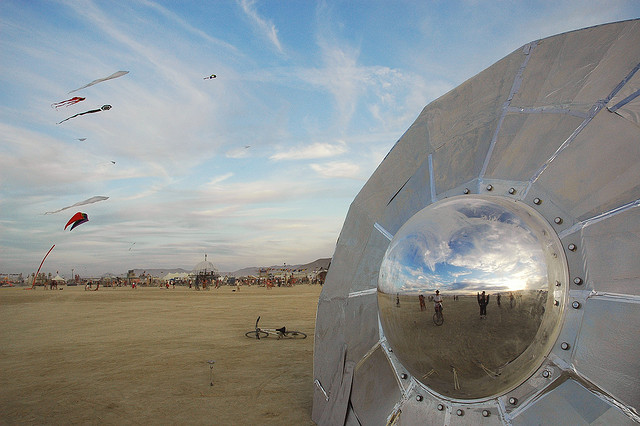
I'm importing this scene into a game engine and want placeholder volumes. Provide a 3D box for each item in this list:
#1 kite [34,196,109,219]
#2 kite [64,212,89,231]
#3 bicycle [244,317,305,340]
[{"bbox_3d":[-8.678,-0.179,11.649,1.597,0.296,0.870,-20,8,13],"label":"kite"},{"bbox_3d":[-12.096,0.387,15.592,0.662,0.868,0.517,38,-6,18],"label":"kite"},{"bbox_3d":[-1.909,5.152,13.049,2.611,1.088,1.405,2,-9,0],"label":"bicycle"}]
